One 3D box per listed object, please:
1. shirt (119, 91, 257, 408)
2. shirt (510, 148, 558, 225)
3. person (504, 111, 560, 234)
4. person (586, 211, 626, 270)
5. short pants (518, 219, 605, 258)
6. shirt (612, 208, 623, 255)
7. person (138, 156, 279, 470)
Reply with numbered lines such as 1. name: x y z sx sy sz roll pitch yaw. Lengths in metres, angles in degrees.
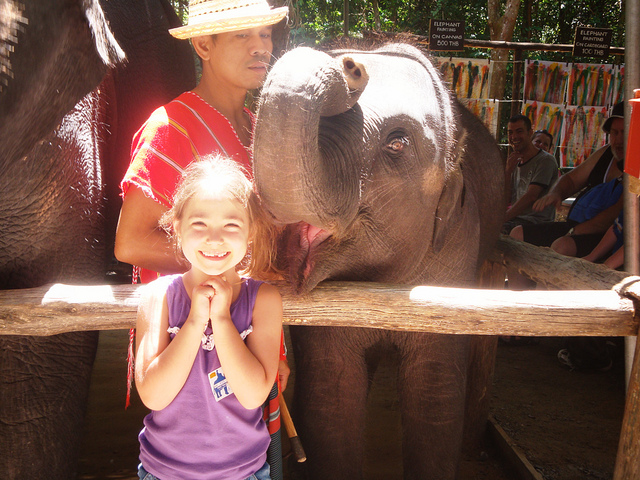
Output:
1. shirt: -0.434 0.180 1.857 0.333 1.272 0.621 5 9 -24
2. shirt: 1.690 -0.420 4.295 0.278 0.560 0.434 11 -19 -21
3. person: 1.645 -0.562 4.517 0.649 0.936 0.569 -6 7 -31
4. person: 1.645 -0.023 3.125 0.183 0.364 0.740 7 14 26
5. short pants: 1.507 -0.003 3.772 0.581 0.231 0.542 4 2 -26
6. shirt: 1.716 -0.023 3.140 0.050 0.233 0.156 6 12 23
7. person: -0.290 0.216 1.415 0.361 0.836 0.296 0 11 -6
